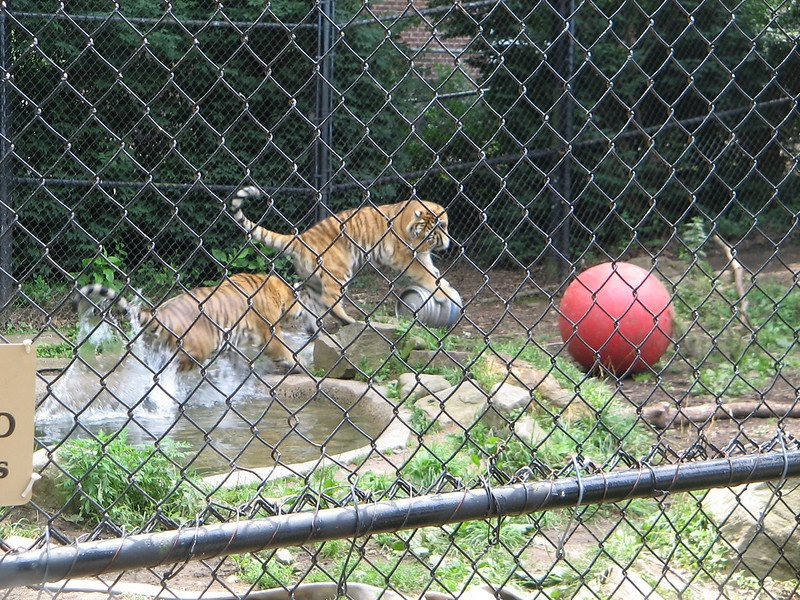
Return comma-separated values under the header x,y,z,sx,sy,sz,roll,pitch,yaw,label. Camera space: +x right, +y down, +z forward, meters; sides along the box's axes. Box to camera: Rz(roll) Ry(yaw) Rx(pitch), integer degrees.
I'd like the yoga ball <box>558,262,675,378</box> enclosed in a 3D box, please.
x,y,z,sx,sy,sz,roll,pitch,yaw,label
1.647,0.181,8.832,0.595,0.639,0.631,-5,58,9,yoga ball

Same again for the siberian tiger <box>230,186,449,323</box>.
x,y,z,sx,sy,sz,roll,pitch,yaw,label
-0.569,-0.485,11.720,2.240,1.499,0.541,-8,8,-20,siberian tiger
